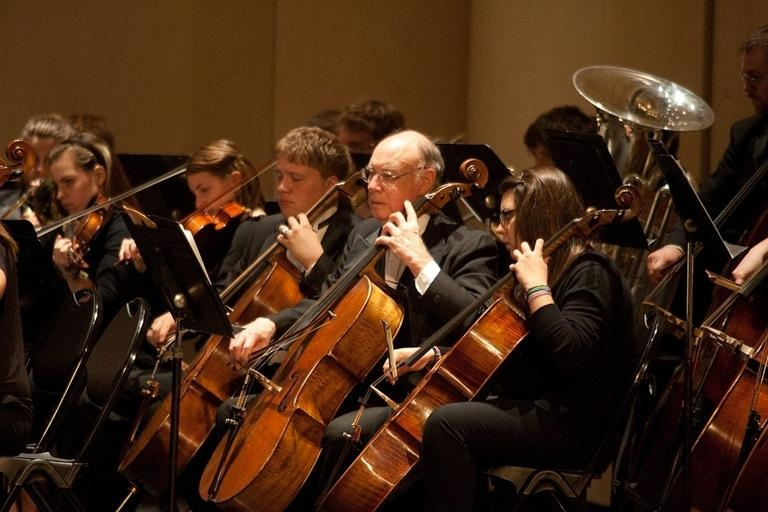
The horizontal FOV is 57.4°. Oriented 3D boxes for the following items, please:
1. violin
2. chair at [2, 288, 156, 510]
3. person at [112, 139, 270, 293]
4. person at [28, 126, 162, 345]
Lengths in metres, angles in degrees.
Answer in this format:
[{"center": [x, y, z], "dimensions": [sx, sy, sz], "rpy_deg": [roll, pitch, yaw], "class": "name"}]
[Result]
[{"center": [-1.751, -0.126, 4.138], "dimensions": [0.258, 0.409, 0.267], "rpy_deg": [-9, 18, -27], "class": "violin"}, {"center": [-1.330, 0.680, 3.117], "dimensions": [0.643, 0.932, 0.574], "rpy_deg": [-11, 21, -23], "class": "chair"}, {"center": [-1.084, -0.296, 4.217], "dimensions": [0.680, 0.887, 0.614], "rpy_deg": [-1, 22, -3], "class": "person"}, {"center": [-1.701, -0.188, 4.175], "dimensions": [0.591, 1.330, 0.540], "rpy_deg": [-3, 23, -19], "class": "person"}]
